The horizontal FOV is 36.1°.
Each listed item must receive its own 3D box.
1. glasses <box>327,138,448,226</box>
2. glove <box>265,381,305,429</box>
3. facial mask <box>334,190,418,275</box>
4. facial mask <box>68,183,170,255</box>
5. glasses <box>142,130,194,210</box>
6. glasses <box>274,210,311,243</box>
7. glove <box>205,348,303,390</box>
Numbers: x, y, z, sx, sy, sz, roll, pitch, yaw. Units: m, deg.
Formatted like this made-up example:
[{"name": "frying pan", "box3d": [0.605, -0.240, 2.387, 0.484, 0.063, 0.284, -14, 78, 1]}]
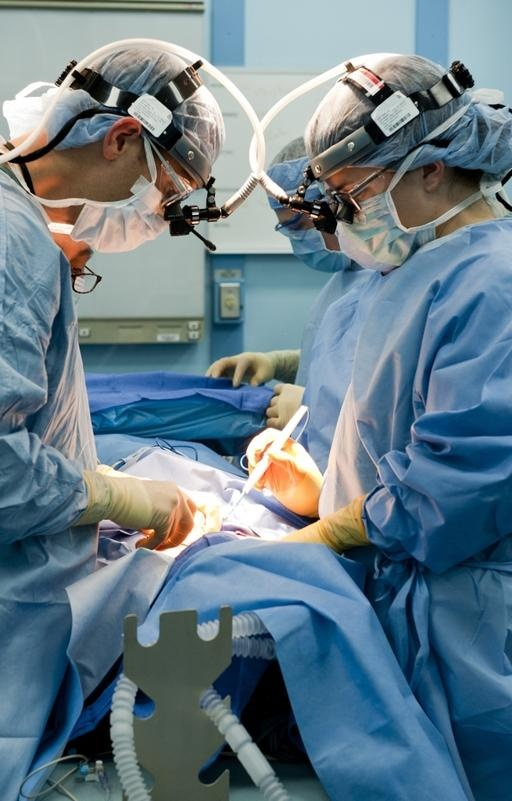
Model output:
[{"name": "glasses", "box3d": [0.230, -0.370, 1.414, 0.181, 0.061, 0.136, -21, 3, 17]}, {"name": "glove", "box3d": [0.118, 0.019, 2.496, 0.060, 0.127, 0.134, 18, -5, -37]}, {"name": "facial mask", "box3d": [0.228, -0.314, 1.469, 0.111, 0.102, 0.132, 35, 24, 4]}, {"name": "facial mask", "box3d": [-0.246, -0.320, 1.426, 0.136, 0.058, 0.103, -18, -16, 27]}, {"name": "glasses", "box3d": [-0.163, -0.411, 1.395, 0.055, 0.103, 0.080, -42, -4, 14]}, {"name": "glasses", "box3d": [0.114, -0.518, 2.372, 0.101, 0.074, 0.088, 12, 5, -25]}, {"name": "glove", "box3d": [-0.018, -0.122, 2.856, 0.404, 0.186, 0.208, 1, 3, 13]}]
